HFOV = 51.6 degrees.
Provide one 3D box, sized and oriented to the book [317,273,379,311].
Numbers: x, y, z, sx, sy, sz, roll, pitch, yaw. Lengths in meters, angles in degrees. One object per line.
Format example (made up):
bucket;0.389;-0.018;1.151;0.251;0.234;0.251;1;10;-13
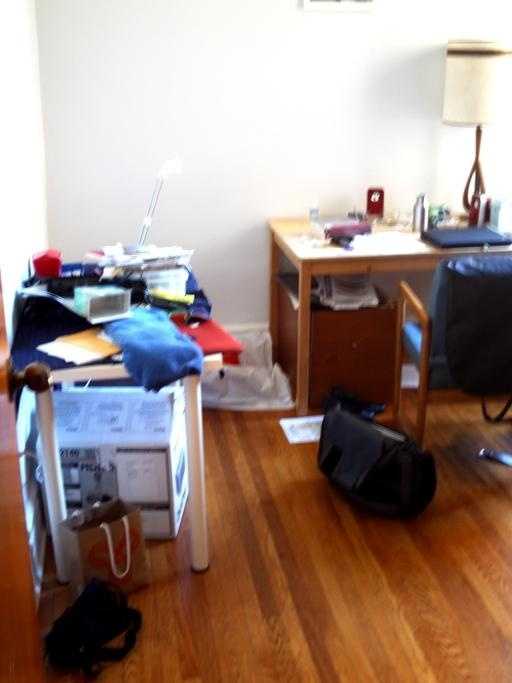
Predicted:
book;0.427;-0.236;2.489;0.172;0.092;0.223;3;30;-6

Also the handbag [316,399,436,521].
handbag;0.362;0.461;1.920;0.240;0.362;0.469;20;-2;-33

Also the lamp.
lamp;1.104;-1.092;2.766;0.291;0.830;0.379;2;12;8

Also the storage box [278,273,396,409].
storage box;0.383;-0.207;2.623;0.380;0.764;0.867;-1;14;-6

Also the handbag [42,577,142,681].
handbag;-0.387;0.682;1.279;0.191;0.071;0.185;51;44;-4
